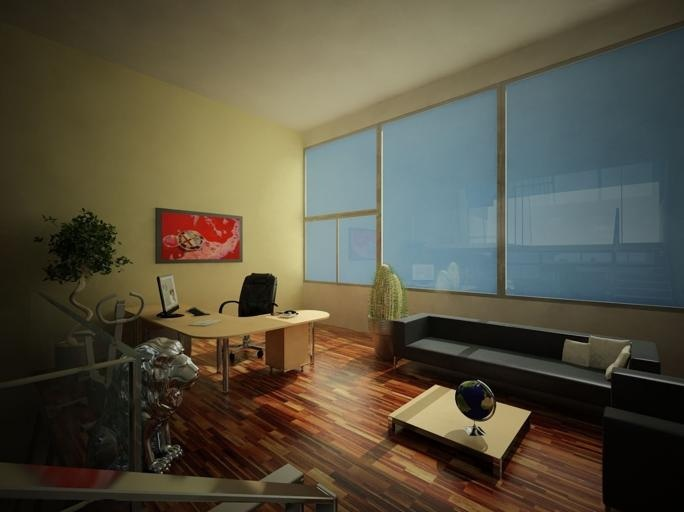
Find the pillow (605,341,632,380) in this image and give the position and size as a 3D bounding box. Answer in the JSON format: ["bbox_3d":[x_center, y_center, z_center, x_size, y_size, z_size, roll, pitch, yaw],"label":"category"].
[{"bbox_3d":[2.903,1.093,4.592,0.102,0.333,0.321,12,8,31],"label":"pillow"}]

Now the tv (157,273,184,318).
[{"bbox_3d":[-2.456,0.554,6.228,0.305,0.520,0.473,-6,3,-5],"label":"tv"}]

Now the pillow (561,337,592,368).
[{"bbox_3d":[2.768,1.139,5.161,0.126,0.339,0.292,18,-10,-33],"label":"pillow"}]

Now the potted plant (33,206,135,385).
[{"bbox_3d":[-3.570,0.191,6.096,1.067,1.592,0.912,-8,15,-36],"label":"potted plant"}]

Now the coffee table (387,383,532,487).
[{"bbox_3d":[1.240,1.735,4.601,1.182,0.273,0.973,10,15,33],"label":"coffee table"}]

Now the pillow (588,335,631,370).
[{"bbox_3d":[2.985,1.084,4.994,0.106,0.359,0.363,5,-1,-27],"label":"pillow"}]
